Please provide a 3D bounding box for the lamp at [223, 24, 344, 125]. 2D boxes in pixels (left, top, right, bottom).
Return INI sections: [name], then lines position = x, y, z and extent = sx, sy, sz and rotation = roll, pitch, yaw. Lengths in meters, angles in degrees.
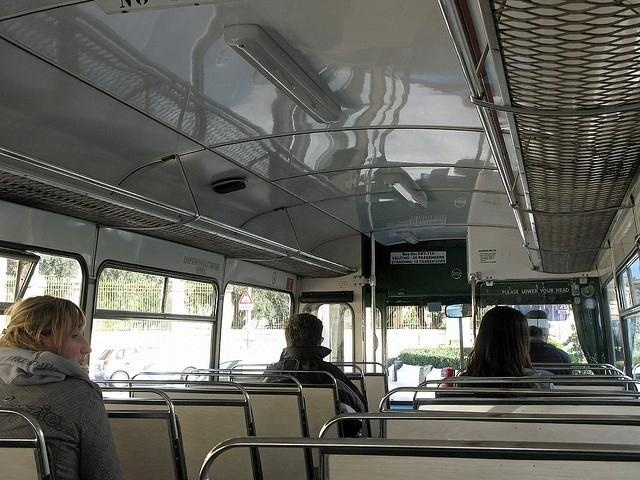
[lamp]
position = -0.354, -1.341, 3.817
extent = 0.299, 0.346, 1.715
rotation = -13, -19, 20
